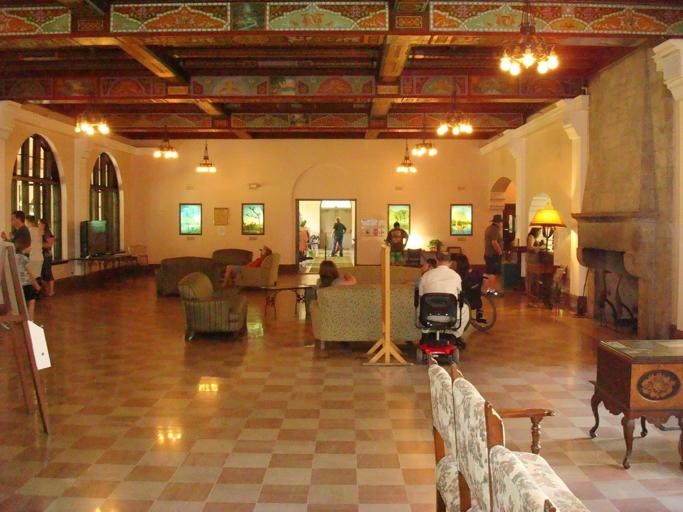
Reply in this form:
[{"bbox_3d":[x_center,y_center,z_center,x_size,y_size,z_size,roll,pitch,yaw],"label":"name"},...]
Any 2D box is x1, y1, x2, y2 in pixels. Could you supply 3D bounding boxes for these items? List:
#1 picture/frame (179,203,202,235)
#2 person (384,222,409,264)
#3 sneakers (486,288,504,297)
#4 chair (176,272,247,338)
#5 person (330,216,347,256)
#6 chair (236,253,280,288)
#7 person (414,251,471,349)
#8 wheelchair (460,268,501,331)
[{"bbox_3d":[-5.031,-1.276,18.505,1.061,1.370,0.050,1,0,-1],"label":"picture/frame"},{"bbox_3d":[1.683,-0.423,16.894,0.611,1.270,1.292,0,9,4],"label":"person"},{"bbox_3d":[3.646,0.865,13.153,0.484,0.183,0.211,-1,5,-14],"label":"sneakers"},{"bbox_3d":[-2.114,0.810,9.306,0.988,1.060,1.063,-2,9,-6],"label":"chair"},{"bbox_3d":[-0.136,-0.764,22.578,0.533,1.540,1.320,-1,9,-2],"label":"person"},{"bbox_3d":[-2.100,0.336,13.742,0.922,0.867,0.878,1,2,4],"label":"chair"},{"bbox_3d":[1.446,0.622,7.765,0.650,1.342,1.039,2,9,16],"label":"person"},{"bbox_3d":[2.377,0.622,9.643,0.550,0.702,0.640,-10,1,-1],"label":"wheelchair"}]
